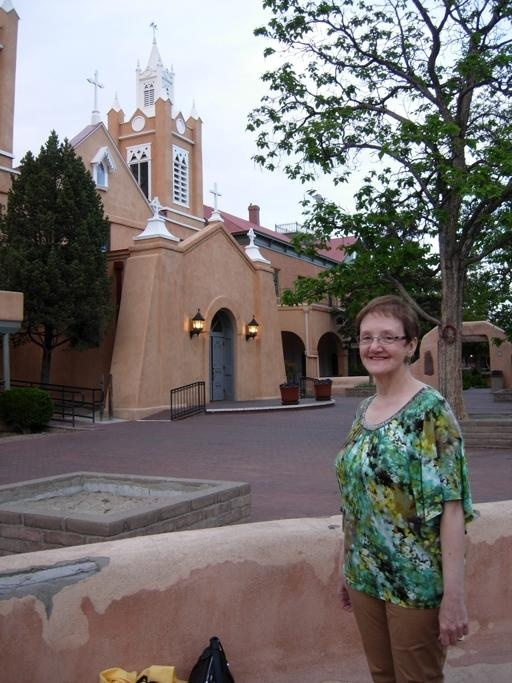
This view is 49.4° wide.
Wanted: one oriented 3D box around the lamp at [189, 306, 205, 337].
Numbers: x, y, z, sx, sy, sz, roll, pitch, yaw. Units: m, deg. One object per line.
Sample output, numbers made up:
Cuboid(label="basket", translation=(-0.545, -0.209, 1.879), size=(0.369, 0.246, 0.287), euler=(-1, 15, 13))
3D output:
Cuboid(label="lamp", translation=(-2.073, -0.624, 19.160), size=(0.479, 1.004, 0.750), euler=(0, -7, -4))

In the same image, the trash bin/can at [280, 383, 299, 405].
Cuboid(label="trash bin/can", translation=(1.182, 1.871, 19.550), size=(0.648, 0.642, 0.660), euler=(1, -4, -13))

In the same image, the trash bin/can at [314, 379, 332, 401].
Cuboid(label="trash bin/can", translation=(2.579, 1.868, 21.341), size=(0.748, 0.801, 0.756), euler=(-1, 1, -10))
